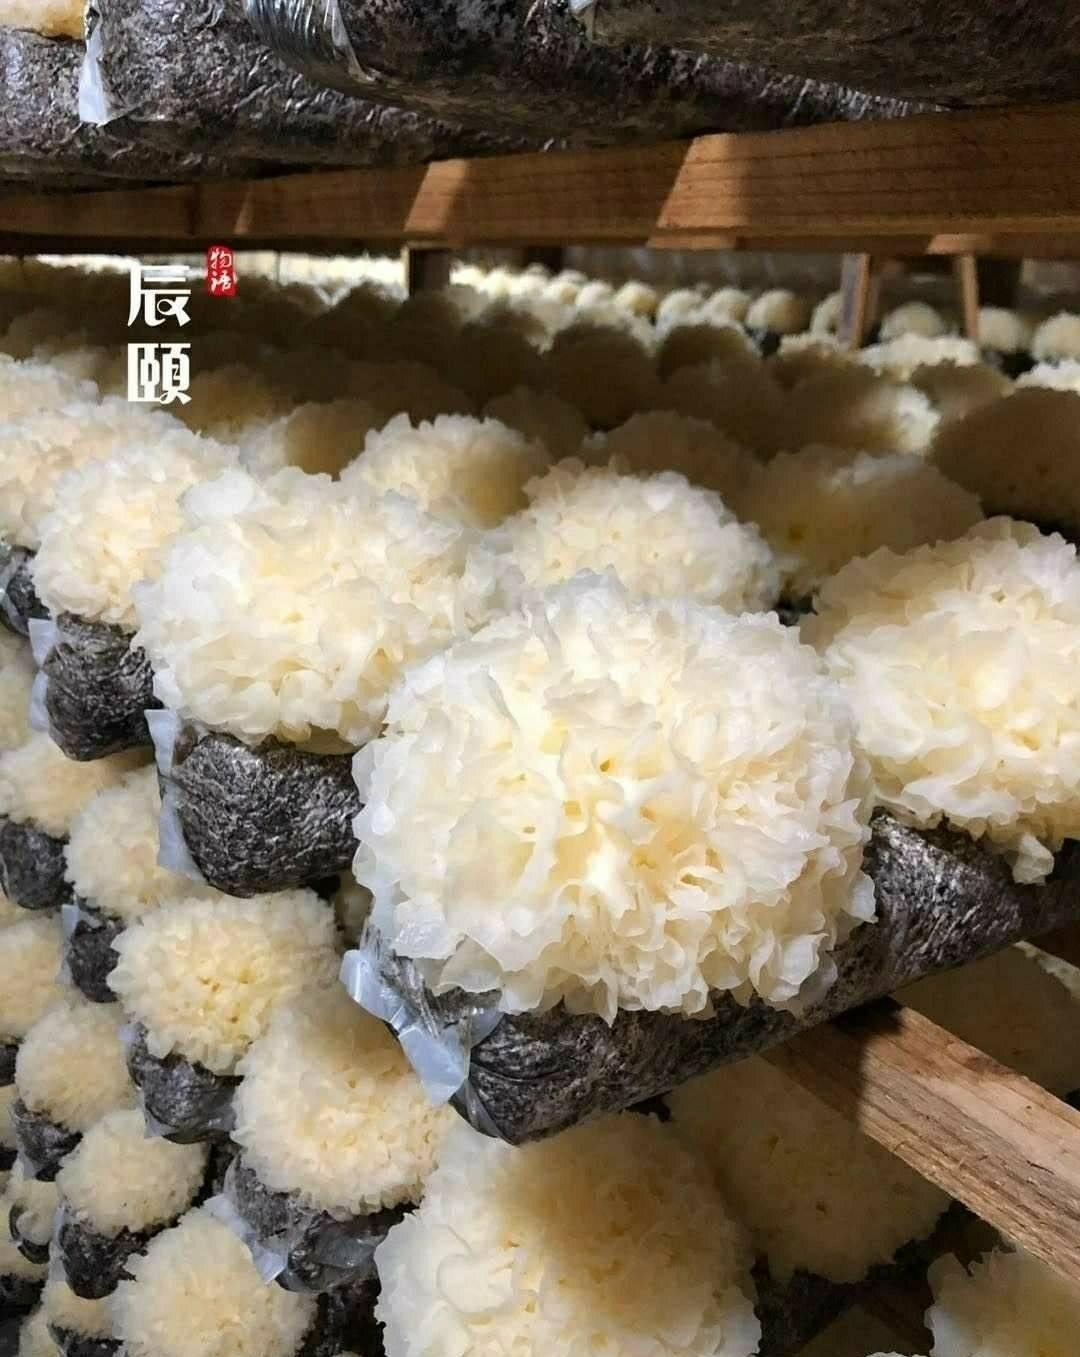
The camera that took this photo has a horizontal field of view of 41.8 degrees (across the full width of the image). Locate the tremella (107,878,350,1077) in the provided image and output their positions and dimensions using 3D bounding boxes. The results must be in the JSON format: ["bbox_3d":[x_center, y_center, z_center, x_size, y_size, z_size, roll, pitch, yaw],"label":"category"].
[{"bbox_3d":[-0.196,0.192,0.945,0.162,0.037,0.118,-34,81,15],"label":"tremella"}]

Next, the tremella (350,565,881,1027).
[{"bbox_3d":[0.030,0.042,0.528,0.216,0.112,0.185,3,34,1],"label":"tremella"}]

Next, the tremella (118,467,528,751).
[{"bbox_3d":[-0.102,-0.057,0.763,0.181,0.175,0.080,15,92,-4],"label":"tremella"}]
